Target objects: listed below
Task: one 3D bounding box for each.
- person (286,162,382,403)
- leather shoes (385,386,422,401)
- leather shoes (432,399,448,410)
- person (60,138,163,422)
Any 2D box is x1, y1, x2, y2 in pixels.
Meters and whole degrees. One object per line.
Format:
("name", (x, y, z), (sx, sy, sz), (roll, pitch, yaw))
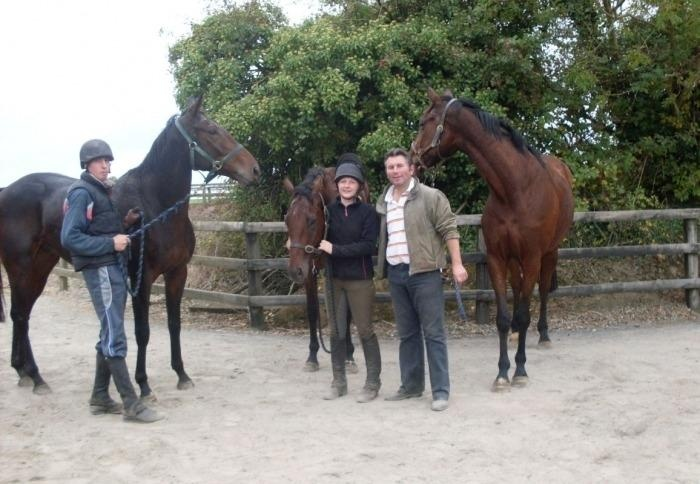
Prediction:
("person", (-0.123, 0.435, 9.449), (0.976, 2.766, 0.499), (-1, 0, 2))
("leather shoes", (0.660, 1.800, 9.556), (0.464, 0.203, 0.168), (1, -2, -12))
("leather shoes", (1.051, 1.861, 9.177), (0.210, 0.121, 0.113), (-1, 0, -5))
("person", (-2.791, 0.437, 9.141), (0.969, 3.302, 0.557), (-1, 0, -16))
